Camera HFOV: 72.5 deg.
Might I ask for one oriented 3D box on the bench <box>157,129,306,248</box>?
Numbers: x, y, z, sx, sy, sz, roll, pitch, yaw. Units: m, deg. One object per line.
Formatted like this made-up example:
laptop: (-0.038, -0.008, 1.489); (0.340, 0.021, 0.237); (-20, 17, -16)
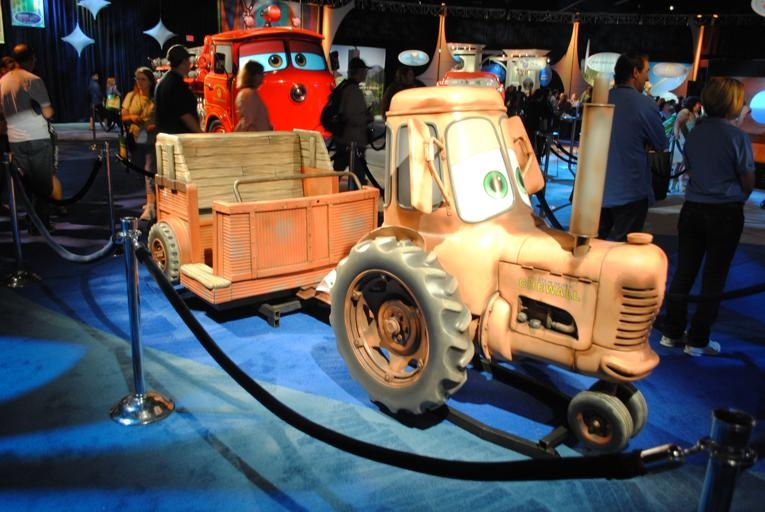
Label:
bench: (-1.595, -0.822, 6.344); (1.767, 1.250, 1.081); (-10, 14, -34)

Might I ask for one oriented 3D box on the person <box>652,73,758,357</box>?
person: (3.168, -0.353, 5.072); (0.621, 2.605, 0.674); (10, 18, 29)

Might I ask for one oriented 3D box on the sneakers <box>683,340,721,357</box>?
sneakers: (3.208, 0.936, 5.238); (0.353, 0.172, 0.159); (-7, 10, -5)

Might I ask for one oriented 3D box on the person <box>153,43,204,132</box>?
person: (-2.985, -2.377, 7.504); (0.678, 1.216, 0.497); (-2, 17, -11)

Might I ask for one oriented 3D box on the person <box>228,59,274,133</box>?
person: (-1.964, -2.388, 7.872); (0.520, 1.022, 0.639); (-4, 17, -16)

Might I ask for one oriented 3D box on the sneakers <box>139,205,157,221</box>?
sneakers: (-3.842, -0.684, 8.541); (0.243, 0.266, 0.287); (-6, 19, -23)

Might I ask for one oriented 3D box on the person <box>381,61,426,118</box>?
person: (0.328, -3.291, 10.309); (0.547, 0.843, 1.251); (0, 18, -4)
